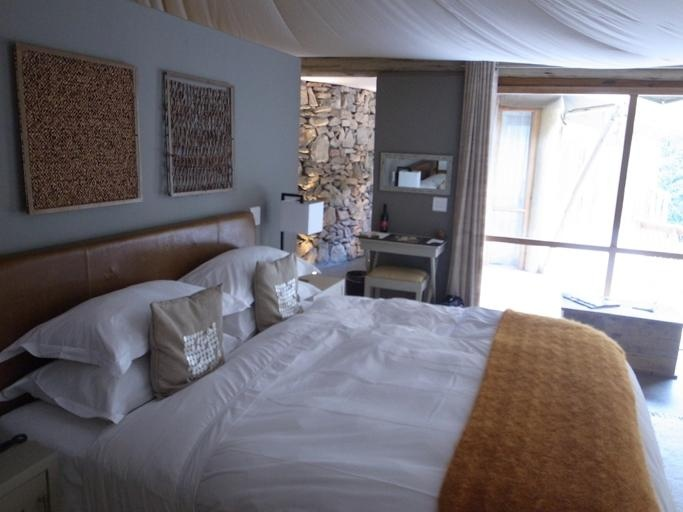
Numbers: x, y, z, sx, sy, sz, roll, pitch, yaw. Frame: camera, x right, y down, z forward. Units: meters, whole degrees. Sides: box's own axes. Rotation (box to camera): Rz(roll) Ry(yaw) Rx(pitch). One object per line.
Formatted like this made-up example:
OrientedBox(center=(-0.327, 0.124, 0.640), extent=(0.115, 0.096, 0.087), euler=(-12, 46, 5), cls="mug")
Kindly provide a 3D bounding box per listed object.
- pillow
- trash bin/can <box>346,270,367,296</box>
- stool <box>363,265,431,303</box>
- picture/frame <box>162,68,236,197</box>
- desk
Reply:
OrientedBox(center=(-1.078, 0.395, 2.870), extent=(0.654, 0.587, 1.466), euler=(9, 14, 27), cls="pillow")
OrientedBox(center=(0.166, 0.327, 6.180), extent=(0.265, 0.327, 0.281), euler=(-3, 8, -20), cls="trash bin/can")
OrientedBox(center=(0.659, 0.225, 5.604), extent=(0.486, 0.467, 0.488), euler=(4, 11, 20), cls="stool")
OrientedBox(center=(-1.053, -0.916, 3.561), extent=(0.062, 1.017, 0.917), euler=(4, 8, 22), cls="picture/frame")
OrientedBox(center=(0.745, 0.116, 5.591), extent=(0.646, 0.667, 0.339), euler=(8, 23, 22), cls="desk")
